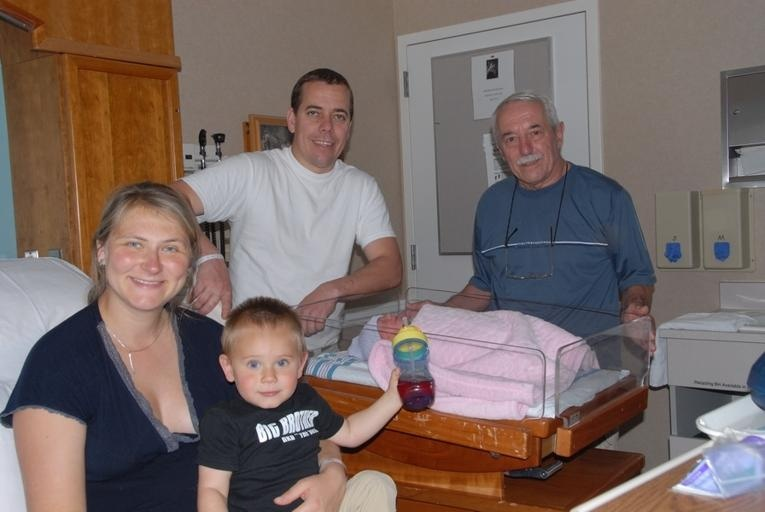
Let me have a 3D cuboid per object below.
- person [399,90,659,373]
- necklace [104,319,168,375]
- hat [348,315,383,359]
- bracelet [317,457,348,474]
[{"bbox_3d":[0.699,-0.223,2.522,0.802,0.934,0.654,3,9,29],"label":"person"},{"bbox_3d":[-0.764,0.276,1.867,0.176,0.158,0.042,4,-10,-33],"label":"necklace"},{"bbox_3d":[-0.060,0.304,2.286,0.152,0.045,0.124,-13,20,23],"label":"hat"},{"bbox_3d":[-0.164,0.657,1.966,0.055,0.042,0.055,4,7,15],"label":"bracelet"}]
